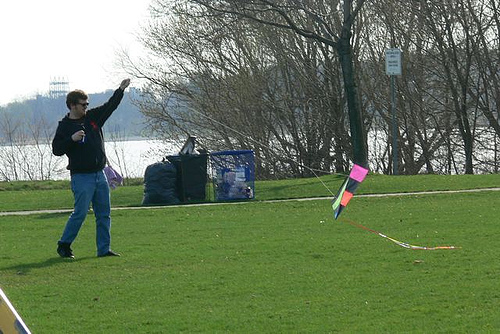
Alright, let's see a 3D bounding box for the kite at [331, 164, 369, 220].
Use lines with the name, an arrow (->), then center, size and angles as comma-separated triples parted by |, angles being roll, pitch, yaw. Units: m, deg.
kite -> 3.335, 0.735, 32.267 | 1.366, 0.016, 2.864 | -35, -27, -15
